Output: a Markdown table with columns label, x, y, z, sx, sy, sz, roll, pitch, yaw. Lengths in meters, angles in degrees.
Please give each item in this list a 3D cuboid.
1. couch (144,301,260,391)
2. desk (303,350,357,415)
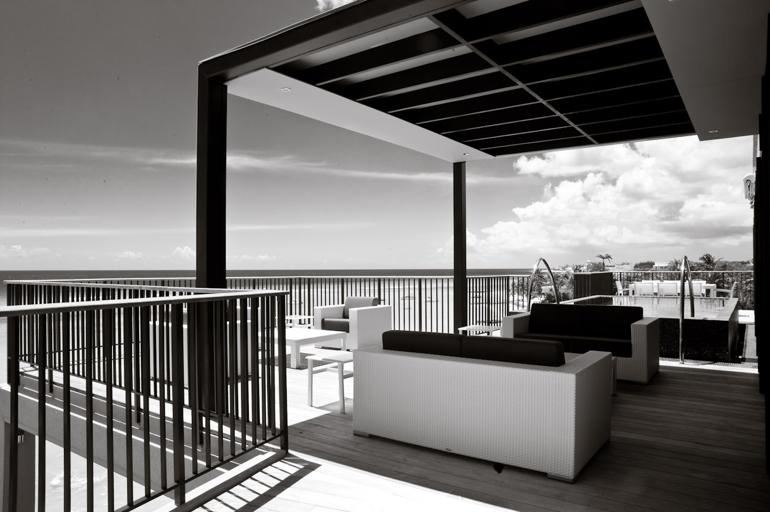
| label | x | y | z | sx | sy | sz | roll | pitch | yaw |
| --- | --- | --- | --- | --- | --- | --- | --- | --- | --- |
| couch | -2.004 | 0.973 | 5.662 | 0.862 | 1.087 | 1.568 | -8 | -3 | -21 |
| desk | -0.721 | 1.641 | 6.680 | 0.801 | 0.751 | 0.805 | -1 | -1 | 22 |
